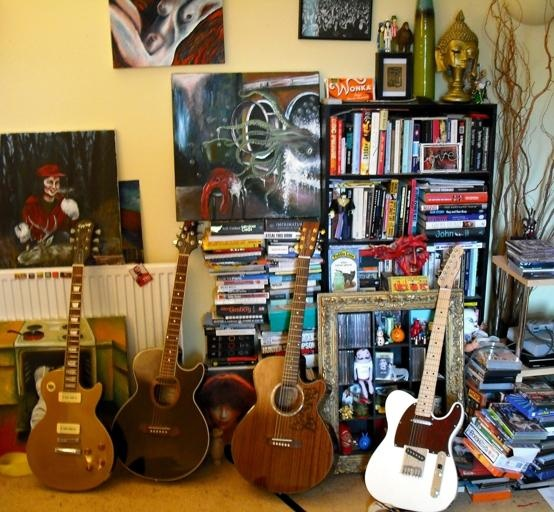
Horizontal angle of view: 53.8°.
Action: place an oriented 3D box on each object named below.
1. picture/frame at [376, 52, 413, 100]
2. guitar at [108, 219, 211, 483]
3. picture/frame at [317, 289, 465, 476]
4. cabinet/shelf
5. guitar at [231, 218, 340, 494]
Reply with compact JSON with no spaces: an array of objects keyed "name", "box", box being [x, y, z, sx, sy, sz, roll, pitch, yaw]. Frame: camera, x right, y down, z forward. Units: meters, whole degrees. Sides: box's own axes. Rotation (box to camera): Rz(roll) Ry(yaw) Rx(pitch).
[{"name":"picture/frame","box":[0.635,-0.915,2.942,0.177,0.300,0.150,3,-22,9]},{"name":"guitar","box":[-0.625,0.497,2.806,0.489,1.272,0.328,-4,12,-11]},{"name":"picture/frame","box":[0.597,0.660,2.859,0.777,1.202,0.116,0,1,-4]},{"name":"cabinet/shelf","box":[0.676,-0.265,2.917,0.919,1.890,0.420,0,6,-1]},{"name":"guitar","box":[0.083,0.495,2.703,0.452,1.481,0.165,7,13,4]}]
